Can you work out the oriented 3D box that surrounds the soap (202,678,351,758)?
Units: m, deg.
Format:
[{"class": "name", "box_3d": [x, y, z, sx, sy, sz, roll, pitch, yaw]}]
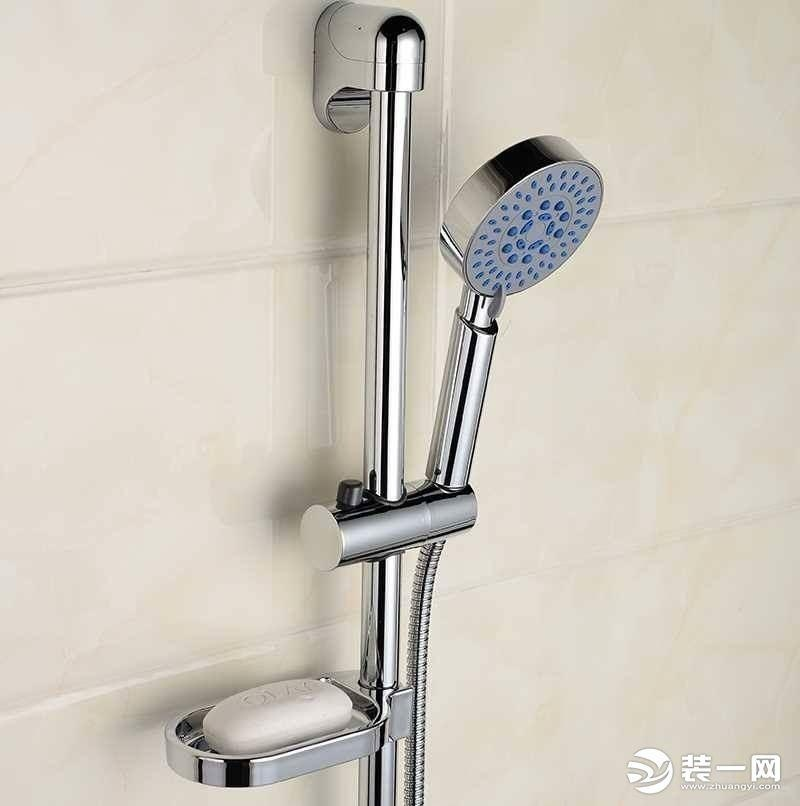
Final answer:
[{"class": "soap", "box_3d": [-0.079, 0.192, 0.585, 0.066, 0.017, 0.039, -5, 11, -35]}]
